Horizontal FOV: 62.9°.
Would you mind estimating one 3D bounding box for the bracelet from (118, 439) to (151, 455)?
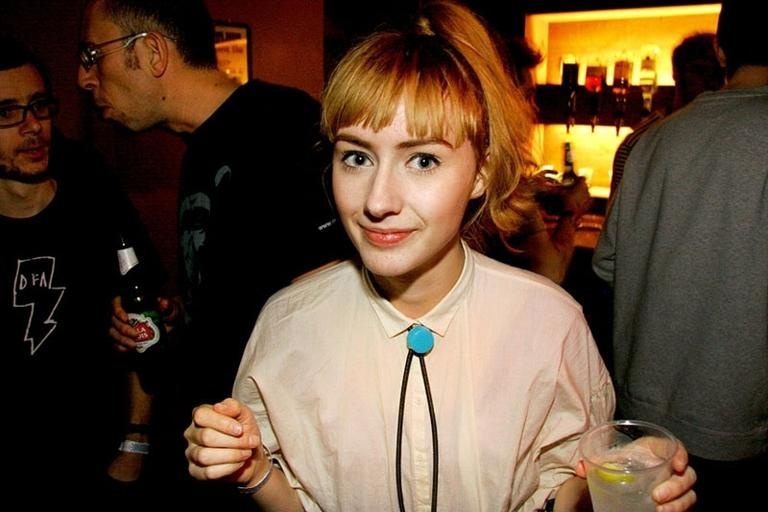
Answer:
[{"bbox_3d":[-1.340,1.024,3.374,0.108,0.041,0.097,10,-7,-3],"label":"bracelet"}]

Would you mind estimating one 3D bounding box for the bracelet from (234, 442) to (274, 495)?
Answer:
[{"bbox_3d":[-0.465,0.803,2.380,0.086,0.161,0.183,7,18,32],"label":"bracelet"}]

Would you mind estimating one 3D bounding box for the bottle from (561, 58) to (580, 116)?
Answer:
[{"bbox_3d":[1.415,-1.280,4.768,0.153,0.436,0.139,-6,45,8],"label":"bottle"}]
